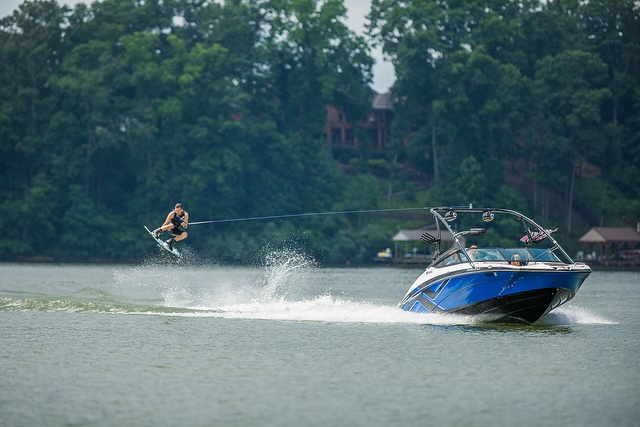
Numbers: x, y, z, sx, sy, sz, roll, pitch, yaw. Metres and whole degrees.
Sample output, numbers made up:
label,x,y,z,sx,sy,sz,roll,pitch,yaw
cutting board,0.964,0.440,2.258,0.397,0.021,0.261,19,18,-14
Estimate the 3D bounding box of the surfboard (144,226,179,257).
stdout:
label,x,y,z,sx,sy,sz,roll,pitch,yaw
surfboard,-15.997,3.229,130.511,0.606,5.414,0.613,-53,1,-42
